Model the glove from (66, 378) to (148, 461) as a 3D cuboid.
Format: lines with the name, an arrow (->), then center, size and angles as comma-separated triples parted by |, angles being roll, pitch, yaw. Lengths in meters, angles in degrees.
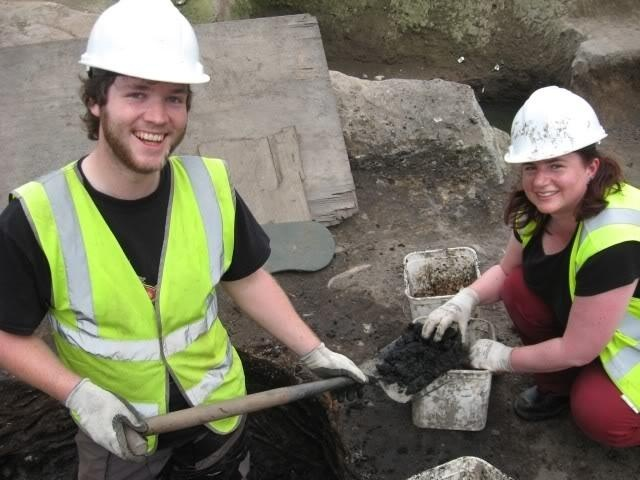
glove -> -1.178, 1.034, 4.468 | 0.538, 0.192, 0.287 | 45, 63, 0

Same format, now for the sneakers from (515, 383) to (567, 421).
sneakers -> 1.434, 1.093, 5.286 | 0.344, 0.235, 0.171 | -9, 57, 13

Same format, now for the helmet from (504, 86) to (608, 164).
helmet -> 1.381, -0.675, 4.765 | 0.529, 0.433, 0.306 | -23, 101, -48

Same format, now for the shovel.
shovel -> -0.135, 0.811, 4.649 | 2.515, 0.679, 0.391 | -4, 91, -33
